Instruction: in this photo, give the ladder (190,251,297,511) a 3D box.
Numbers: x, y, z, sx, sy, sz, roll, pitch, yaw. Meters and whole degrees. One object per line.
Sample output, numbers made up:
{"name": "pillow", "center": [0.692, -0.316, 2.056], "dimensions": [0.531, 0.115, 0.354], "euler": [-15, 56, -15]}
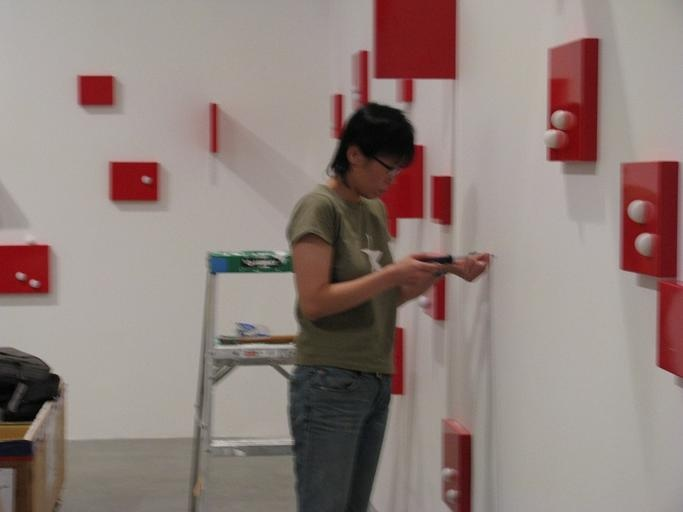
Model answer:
{"name": "ladder", "center": [-0.343, 0.455, 2.647], "dimensions": [0.361, 0.942, 0.451], "euler": [1, -4, -12]}
